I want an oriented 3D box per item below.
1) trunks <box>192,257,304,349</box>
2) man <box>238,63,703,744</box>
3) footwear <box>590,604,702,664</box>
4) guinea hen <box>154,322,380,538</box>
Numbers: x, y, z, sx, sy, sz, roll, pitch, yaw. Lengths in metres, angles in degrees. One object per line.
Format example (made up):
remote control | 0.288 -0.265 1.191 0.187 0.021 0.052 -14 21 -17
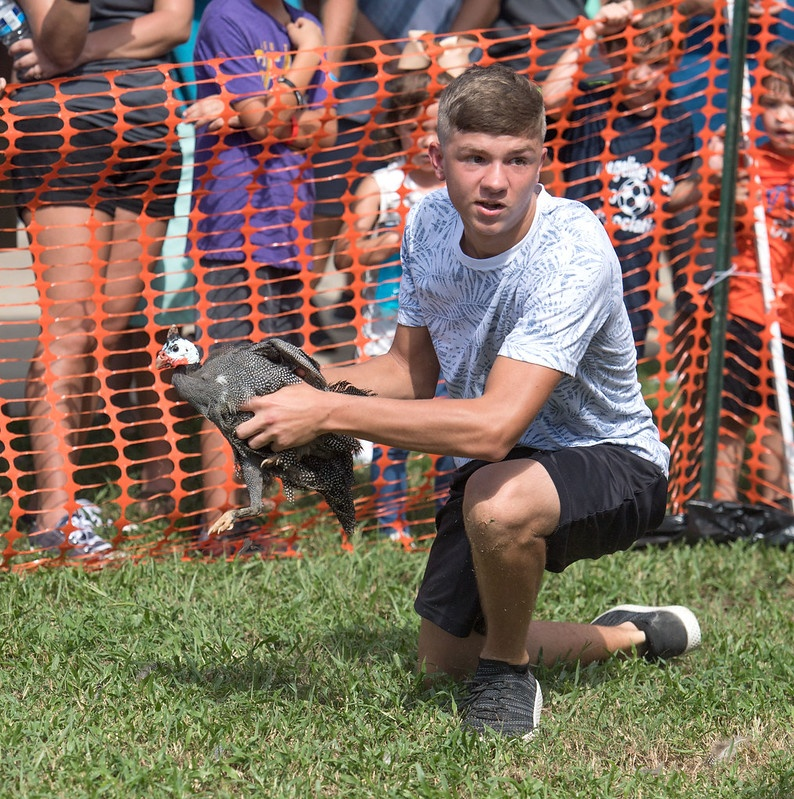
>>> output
trunks | -0.596 -0.382 3.883 0.608 0.433 0.224 -2 13 -12
man | 0.302 0.000 2.779 1.241 1.771 0.771 3 16 4
footwear | 0.838 0.745 3.184 0.412 0.114 0.158 -6 -1 35
guinea hen | -0.388 0.101 2.722 0.516 0.580 0.436 -9 19 -36
